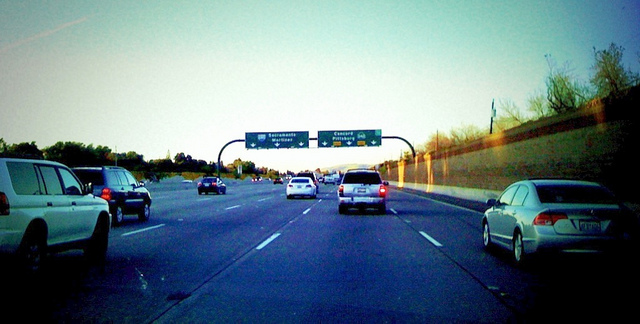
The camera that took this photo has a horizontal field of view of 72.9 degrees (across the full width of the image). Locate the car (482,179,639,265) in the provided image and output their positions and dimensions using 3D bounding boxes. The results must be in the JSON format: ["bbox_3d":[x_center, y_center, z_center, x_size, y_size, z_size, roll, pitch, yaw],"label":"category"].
[{"bbox_3d":[7.393,1.928,13.357,3.992,2.582,2.372,3,7,28],"label":"car"}]

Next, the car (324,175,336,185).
[{"bbox_3d":[2.148,3.822,92.617,1.761,1.651,2.876,-1,-7,-1],"label":"car"}]

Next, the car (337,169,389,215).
[{"bbox_3d":[2.430,1.452,25.016,2.016,1.531,2.978,0,7,6],"label":"car"}]

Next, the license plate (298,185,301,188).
[{"bbox_3d":[-1.743,2.040,36.885,0.215,0.198,0.155,-1,7,-4],"label":"license plate"}]

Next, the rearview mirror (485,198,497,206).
[{"bbox_3d":[6.000,1.399,15.233,0.343,0.128,0.347,-1,0,11],"label":"rearview mirror"}]

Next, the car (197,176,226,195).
[{"bbox_3d":[-11.714,2.474,47.727,1.464,1.174,3.513,-1,2,1],"label":"car"}]

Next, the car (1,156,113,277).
[{"bbox_3d":[-8.126,1.496,13.035,0.972,3.554,3.285,3,7,23],"label":"car"}]

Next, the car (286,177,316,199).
[{"bbox_3d":[-1.622,2.331,37.495,2.318,1.904,1.745,0,7,1],"label":"car"}]
